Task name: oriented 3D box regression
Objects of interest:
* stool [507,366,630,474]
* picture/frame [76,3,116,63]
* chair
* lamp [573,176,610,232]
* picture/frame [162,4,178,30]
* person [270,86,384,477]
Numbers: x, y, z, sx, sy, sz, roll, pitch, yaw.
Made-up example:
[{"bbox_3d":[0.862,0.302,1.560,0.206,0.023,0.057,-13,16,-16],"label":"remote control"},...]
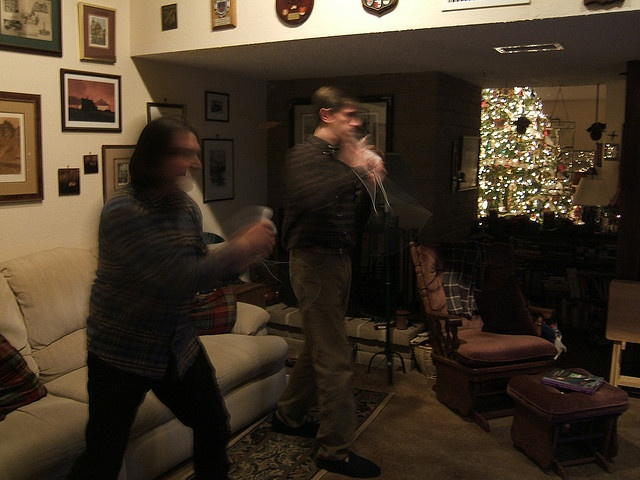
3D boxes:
[{"bbox_3d":[1.439,0.991,2.962,0.629,0.480,0.515,-1,5,-17],"label":"stool"},{"bbox_3d":[-1.550,-1.416,3.396,0.040,0.379,0.300,6,14,28],"label":"picture/frame"},{"bbox_3d":[1.510,0.686,3.840,1.088,1.478,1.244,0,-3,-18],"label":"chair"},{"bbox_3d":[2.702,-0.374,4.833,0.316,0.541,0.660,5,13,27],"label":"lamp"},{"bbox_3d":[-1.068,-1.577,3.470,0.202,0.191,0.027,5,8,30],"label":"picture/frame"},{"bbox_3d":[0.065,0.265,2.504,0.493,1.997,0.348,-2,12,-5],"label":"person"}]
